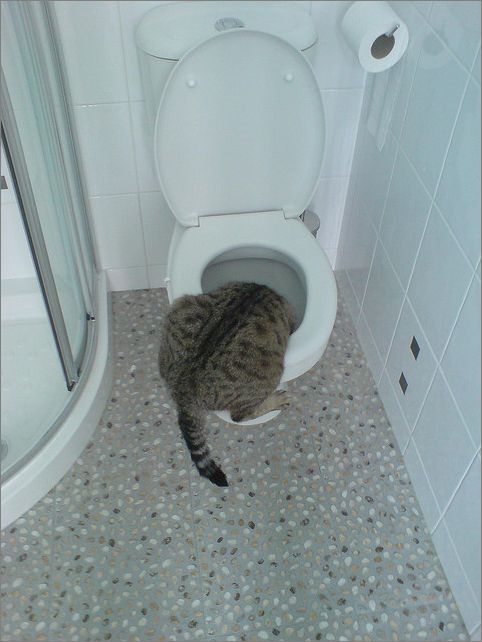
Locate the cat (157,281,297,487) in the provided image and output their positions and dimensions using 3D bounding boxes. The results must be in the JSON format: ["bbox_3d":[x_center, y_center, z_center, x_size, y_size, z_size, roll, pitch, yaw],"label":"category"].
[{"bbox_3d":[-0.027,0.125,1.201,0.337,0.359,0.281,-26,51,-31],"label":"cat"}]
